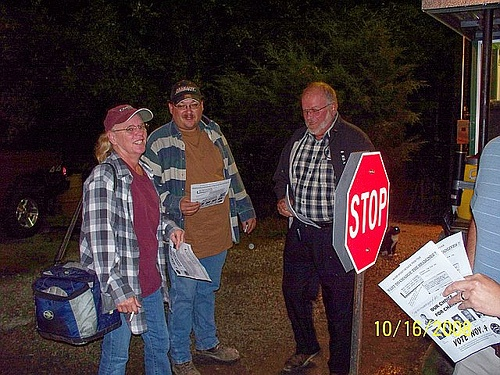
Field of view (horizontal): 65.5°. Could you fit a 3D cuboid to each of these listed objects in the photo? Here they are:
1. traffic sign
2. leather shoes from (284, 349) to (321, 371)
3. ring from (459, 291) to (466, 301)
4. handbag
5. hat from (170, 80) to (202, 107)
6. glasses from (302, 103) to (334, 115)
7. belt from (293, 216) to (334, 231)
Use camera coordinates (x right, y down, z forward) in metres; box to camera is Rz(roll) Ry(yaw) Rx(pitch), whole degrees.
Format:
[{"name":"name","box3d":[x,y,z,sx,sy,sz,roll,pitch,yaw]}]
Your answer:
[{"name":"traffic sign","box3d":[0.584,0.106,1.909,0.056,0.576,0.497,6,15,37]},{"name":"leather shoes","box3d":[0.595,1.999,4.438,0.395,0.162,0.145,-15,18,-25]},{"name":"ring","box3d":[0.966,0.495,1.763,0.018,0.036,0.013,1,13,22]},{"name":"handbag","box3d":[-1.291,0.804,3.042,0.659,0.668,0.531,3,10,26]},{"name":"hat","box3d":[-0.740,-1.076,4.373,0.343,0.248,0.293,-6,13,-11]},{"name":"glasses","box3d":[0.722,-0.831,4.165,0.299,0.109,0.114,-1,13,10]},{"name":"belt","box3d":[0.626,0.384,4.179,0.481,0.129,0.176,6,16,37]}]
